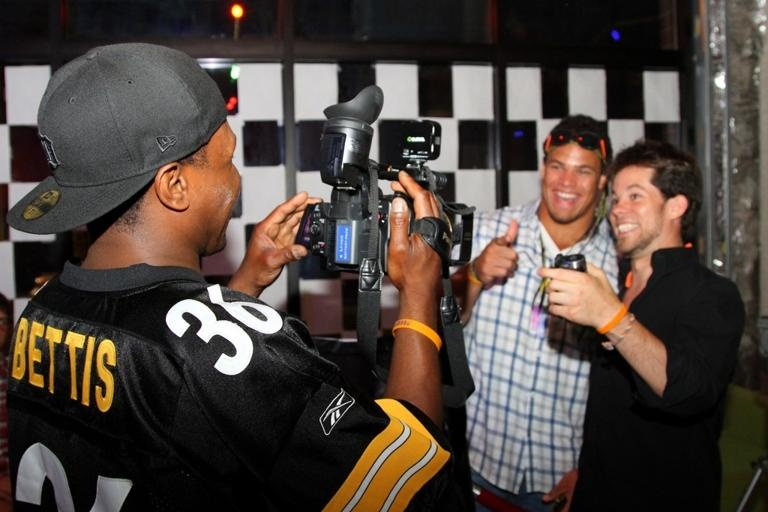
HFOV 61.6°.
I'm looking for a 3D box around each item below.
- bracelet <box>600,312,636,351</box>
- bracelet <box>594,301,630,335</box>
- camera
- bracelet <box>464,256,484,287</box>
[{"bbox_3d":[0.918,0.264,2.430,0.168,0.061,0.126,-43,-7,-23],"label":"bracelet"},{"bbox_3d":[0.839,0.236,2.397,0.029,0.107,0.110,35,51,12],"label":"bracelet"},{"bbox_3d":[0.048,-0.287,2.543,0.700,0.707,0.469,-1,6,-43],"label":"camera"},{"bbox_3d":[0.432,0.082,3.172,0.101,0.140,0.054,-5,-4,13],"label":"bracelet"}]
